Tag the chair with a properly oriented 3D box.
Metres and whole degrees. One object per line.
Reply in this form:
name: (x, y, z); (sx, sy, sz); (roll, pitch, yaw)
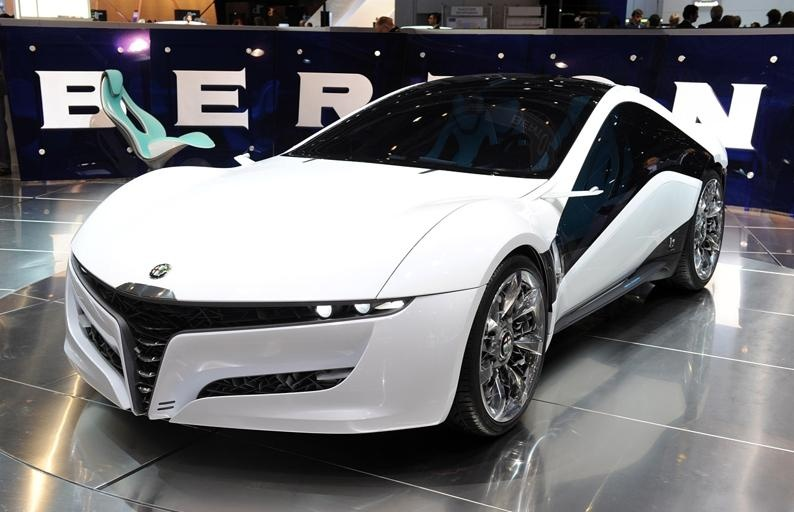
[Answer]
chair: (-2.804, -1.501, 6.119); (1.124, 1.235, 0.863); (2, 24, -4)
